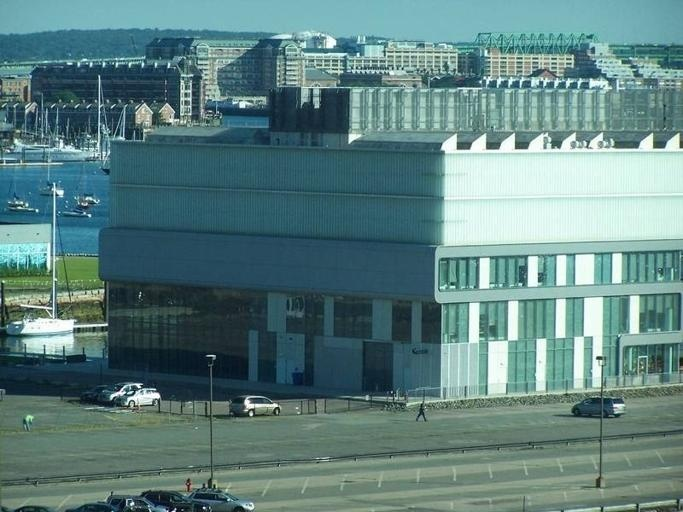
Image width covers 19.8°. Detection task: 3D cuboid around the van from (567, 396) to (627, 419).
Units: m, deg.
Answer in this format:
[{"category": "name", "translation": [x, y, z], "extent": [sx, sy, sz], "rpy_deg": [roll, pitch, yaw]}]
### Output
[{"category": "van", "translation": [20.077, 12.158, 154.286], "extent": [3.202, 1.393, 1.908], "rpy_deg": [3, 1, 12]}]
